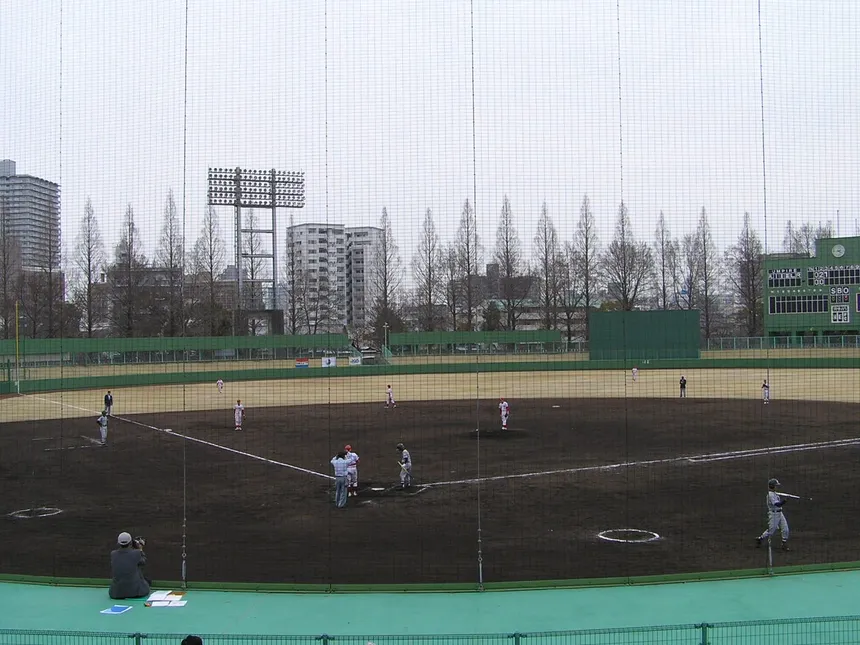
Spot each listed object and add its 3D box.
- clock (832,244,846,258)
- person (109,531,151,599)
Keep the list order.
[{"bbox_3d":[19.438,-3.366,93.286,0.670,0.676,0.509,0,6,10],"label":"clock"},{"bbox_3d":[-9.237,7.357,59.578,1.271,1.986,1.369,-2,6,-9],"label":"person"}]
